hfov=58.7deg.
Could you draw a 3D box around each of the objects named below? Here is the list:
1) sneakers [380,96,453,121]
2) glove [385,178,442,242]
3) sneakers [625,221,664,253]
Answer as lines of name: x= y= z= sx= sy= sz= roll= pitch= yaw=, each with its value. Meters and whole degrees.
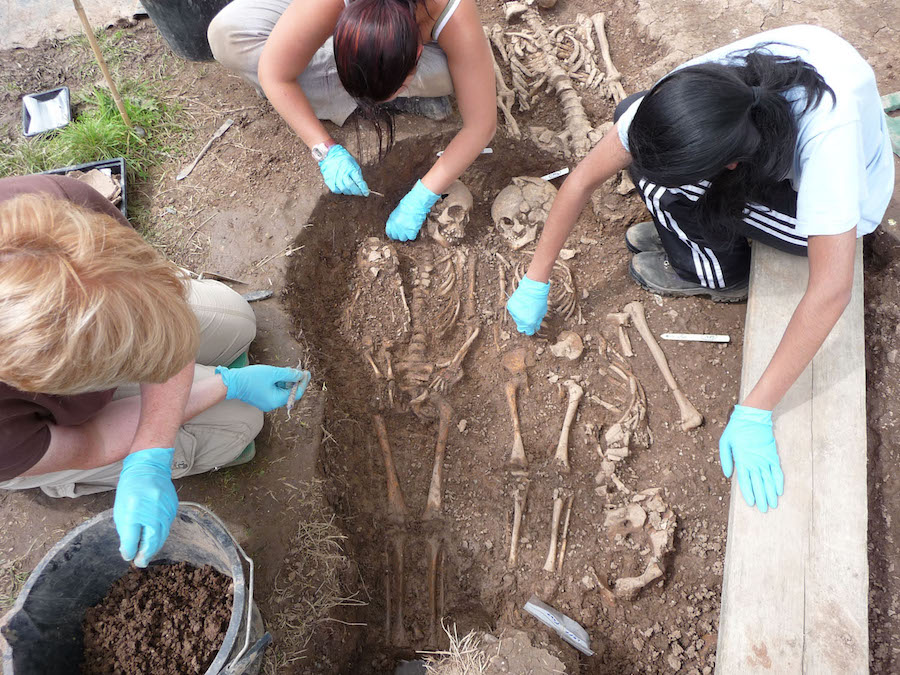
sneakers: x=-0.179 y=-1.385 z=4.788 sx=0.277 sy=0.075 sz=0.202 roll=-3 pitch=37 yaw=4
glove: x=-0.215 y=-0.730 z=4.673 sx=0.228 sy=0.116 sz=0.395 roll=40 pitch=109 yaw=7
sneakers: x=1.100 y=-0.567 z=4.639 sx=0.233 sy=0.238 sz=0.121 roll=17 pitch=82 yaw=8
